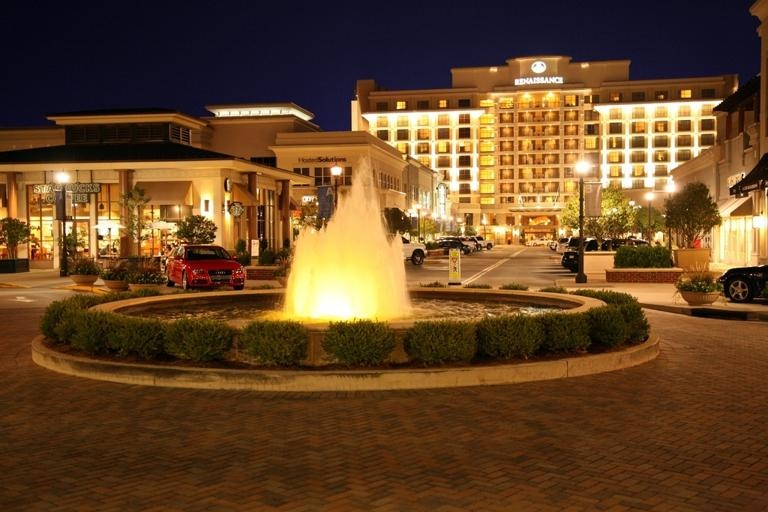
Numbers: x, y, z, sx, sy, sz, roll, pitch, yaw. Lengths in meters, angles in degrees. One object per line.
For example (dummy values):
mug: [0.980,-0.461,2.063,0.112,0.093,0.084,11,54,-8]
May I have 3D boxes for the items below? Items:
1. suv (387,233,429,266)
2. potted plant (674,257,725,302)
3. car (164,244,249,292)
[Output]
suv: [1.864,-0.255,50.027,3.194,1.531,1.771,-2,3,-2]
potted plant: [11.078,0.997,22.112,1.469,1.578,1.487,1,-3,11]
car: [-8.104,0.553,28.520,2.272,1.961,3.949,-5,9,-35]
